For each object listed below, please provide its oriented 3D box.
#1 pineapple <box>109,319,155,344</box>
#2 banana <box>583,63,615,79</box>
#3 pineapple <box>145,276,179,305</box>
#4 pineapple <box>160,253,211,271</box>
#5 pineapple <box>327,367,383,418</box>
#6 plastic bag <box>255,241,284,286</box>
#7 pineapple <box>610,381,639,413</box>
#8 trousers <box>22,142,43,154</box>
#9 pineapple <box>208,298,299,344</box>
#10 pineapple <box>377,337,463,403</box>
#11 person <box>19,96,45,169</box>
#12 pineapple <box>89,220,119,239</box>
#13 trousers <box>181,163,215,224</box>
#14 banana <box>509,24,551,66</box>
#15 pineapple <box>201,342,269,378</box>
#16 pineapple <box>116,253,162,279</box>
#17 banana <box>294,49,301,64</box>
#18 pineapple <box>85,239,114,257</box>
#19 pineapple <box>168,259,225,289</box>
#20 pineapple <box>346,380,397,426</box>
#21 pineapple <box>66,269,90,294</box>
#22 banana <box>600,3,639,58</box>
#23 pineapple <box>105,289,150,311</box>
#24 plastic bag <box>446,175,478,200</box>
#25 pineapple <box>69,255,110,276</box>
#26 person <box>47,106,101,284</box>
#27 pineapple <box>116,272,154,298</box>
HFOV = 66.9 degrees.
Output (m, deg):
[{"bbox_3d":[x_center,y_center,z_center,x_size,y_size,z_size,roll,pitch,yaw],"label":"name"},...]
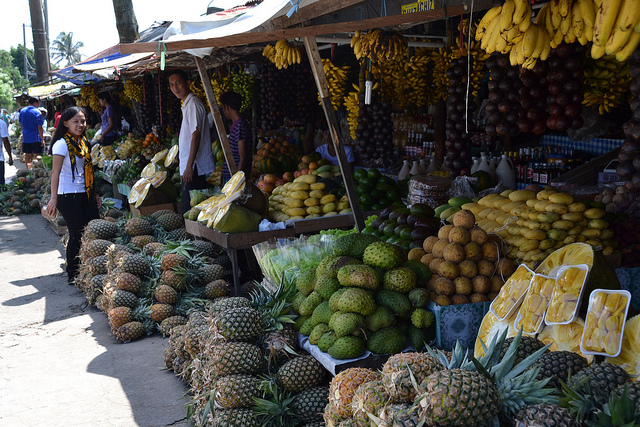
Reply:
[{"bbox_3d":[-1.978,1.233,5.046,0.536,0.215,0.209,-12,-15,8],"label":"pineapple"},{"bbox_3d":[2.359,-1.186,4.048,0.223,0.127,0.065,14,3,15],"label":"banana"},{"bbox_3d":[-1.708,0.857,5.269,0.388,0.260,0.260,21,-25,1],"label":"pineapple"},{"bbox_3d":[-1.508,0.552,5.446,0.528,0.190,0.192,1,-18,-3],"label":"pineapple"},{"bbox_3d":[0.204,1.053,2.936,0.296,0.244,0.250,-11,-11,-7],"label":"pineapple"},{"bbox_3d":[-0.433,0.443,4.286,0.101,0.318,0.240,-26,-11,19],"label":"plastic bag"},{"bbox_3d":[1.523,0.920,2.404,0.065,0.060,0.151,-5,-38,16],"label":"pineapple"},{"bbox_3d":[-8.339,-1.879,13.914,0.595,0.455,0.354,-2,11,-28],"label":"trousers"},{"bbox_3d":[-0.557,0.795,3.725,0.531,0.263,0.380,-23,-3,-9],"label":"pineapple"},{"bbox_3d":[0.554,0.899,2.746,0.603,0.264,0.400,0,11,-23],"label":"pineapple"},{"bbox_3d":[-8.248,-2.345,13.761,0.697,1.831,1.539,-14,20,-28],"label":"person"},{"bbox_3d":[-2.875,0.217,6.384,0.405,0.240,0.267,3,-7,-14],"label":"pineapple"},{"bbox_3d":[-1.734,-0.280,6.831,0.355,0.787,0.412,3,-2,-17],"label":"trousers"},{"bbox_3d":[1.529,-1.207,3.515,0.221,0.296,0.096,-2,-7,-9],"label":"banana"},{"bbox_3d":[-0.593,1.005,3.453,0.474,0.203,0.317,-1,2,-23],"label":"pineapple"},{"bbox_3d":[-2.032,0.587,5.402,0.588,0.335,0.349,8,-7,-19],"label":"pineapple"},{"bbox_3d":[-0.253,-1.795,5.561,0.033,0.133,0.129,-3,-14,9],"label":"banana"},{"bbox_3d":[-2.826,0.432,6.090,0.339,0.188,0.307,-11,19,-18],"label":"pineapple"},{"bbox_3d":[-1.329,0.674,5.376,0.462,0.202,0.231,0,24,-20],"label":"pineapple"},{"bbox_3d":[0.283,1.035,2.828,0.266,0.240,0.226,-8,10,-14],"label":"pineapple"},{"bbox_3d":[-3.100,0.860,6.217,0.130,0.274,0.243,35,-6,-25],"label":"pineapple"},{"bbox_3d":[1.830,-1.113,2.981,0.099,0.308,0.071,15,30,-20],"label":"banana"},{"bbox_3d":[-2.075,0.921,5.158,0.609,0.259,0.257,4,-7,-13],"label":"pineapple"},{"bbox_3d":[1.394,-0.249,4.876,0.327,0.334,0.202,2,1,-2],"label":"plastic bag"},{"bbox_3d":[-2.774,0.637,5.834,0.374,0.188,0.183,-9,-9,22],"label":"pineapple"},{"bbox_3d":[-3.279,-0.203,6.402,0.673,2.303,0.483,-13,19,-27],"label":"person"},{"bbox_3d":[-2.054,0.779,5.353,0.409,0.201,0.187,31,-7,-24],"label":"pineapple"}]
